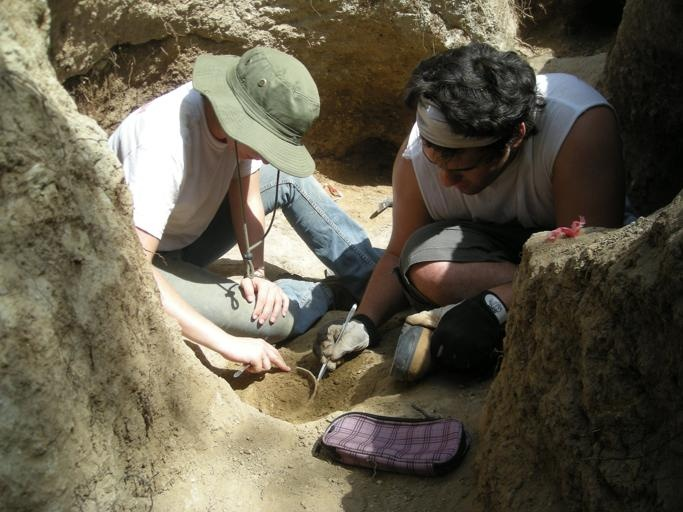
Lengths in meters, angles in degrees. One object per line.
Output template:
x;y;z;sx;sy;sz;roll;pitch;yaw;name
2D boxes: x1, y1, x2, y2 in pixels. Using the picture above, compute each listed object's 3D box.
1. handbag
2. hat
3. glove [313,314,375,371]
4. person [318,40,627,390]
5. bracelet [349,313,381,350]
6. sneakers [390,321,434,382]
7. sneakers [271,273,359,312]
0.179;0.575;2.483;0.345;0.069;0.201;2;27;13;handbag
-0.321;-0.485;2.828;0.424;0.406;0.356;9;34;27;hat
0.009;0.319;3.164;0.205;0.088;0.159;-31;27;-25;glove
0.534;-0.216;3.150;0.798;1.148;1.371;11;26;33;person
0.085;0.295;3.267;0.052;0.102;0.133;-32;41;3;bracelet
0.244;0.337;2.896;0.078;0.114;0.217;2;66;60;sneakers
-0.098;0.149;3.759;0.271;0.118;0.200;19;11;8;sneakers
